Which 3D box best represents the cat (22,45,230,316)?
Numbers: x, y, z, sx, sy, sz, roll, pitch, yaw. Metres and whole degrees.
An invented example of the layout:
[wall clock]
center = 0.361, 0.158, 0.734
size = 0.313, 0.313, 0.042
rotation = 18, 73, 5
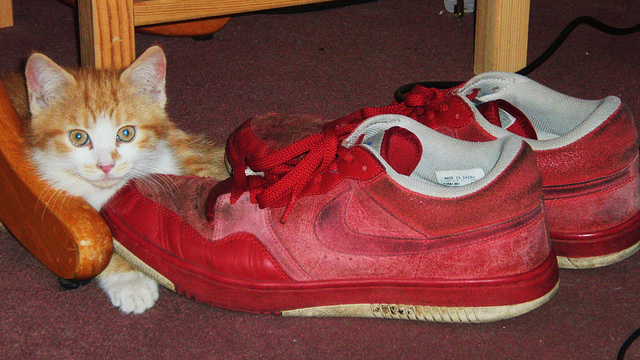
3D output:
[cat]
center = -0.560, -0.077, 1.471
size = 0.514, 0.343, 0.884
rotation = -18, 30, -42
